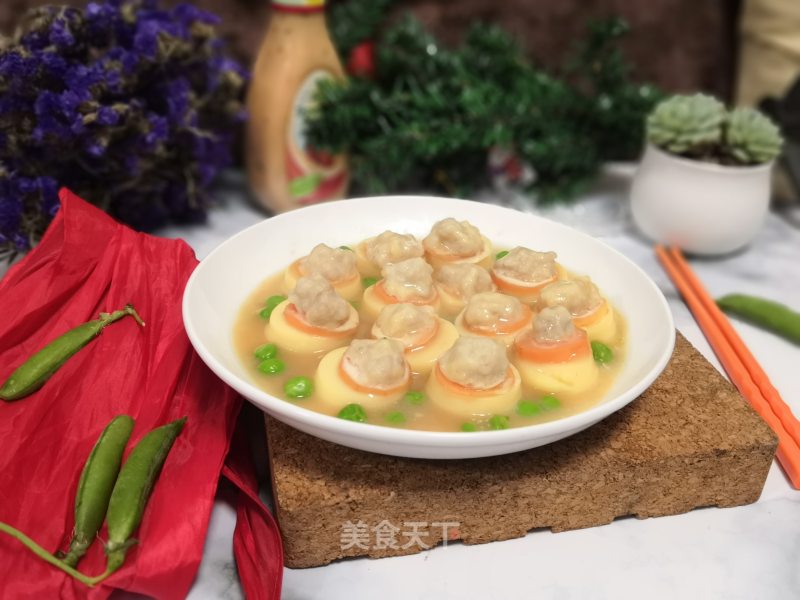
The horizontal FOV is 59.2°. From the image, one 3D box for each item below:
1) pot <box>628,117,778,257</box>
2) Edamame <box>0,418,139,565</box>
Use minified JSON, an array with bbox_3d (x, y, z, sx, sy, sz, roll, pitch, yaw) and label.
[{"bbox_3d":[0.920,-0.265,2.205,0.352,0.355,0.279,6,86,52],"label":"pot"},{"bbox_3d":[-0.608,0.376,1.333,0.085,0.095,0.357,19,46,-6],"label":"Edamame"}]
